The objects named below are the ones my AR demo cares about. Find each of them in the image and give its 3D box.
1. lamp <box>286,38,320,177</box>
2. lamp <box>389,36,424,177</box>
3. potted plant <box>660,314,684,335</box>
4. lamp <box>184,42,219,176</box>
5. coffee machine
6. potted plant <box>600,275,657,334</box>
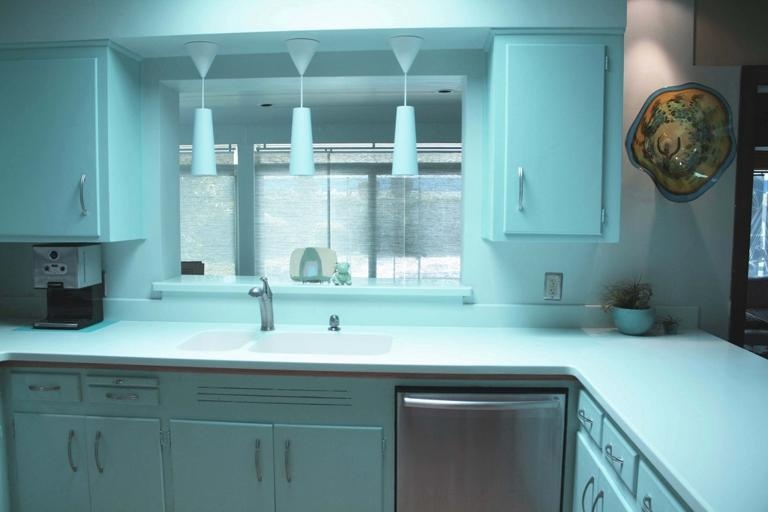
[{"bbox_3d":[-0.493,-0.864,3.868,0.181,0.775,0.458,-1,1,-8],"label":"lamp"},{"bbox_3d":[0.137,-0.866,3.812,0.185,0.783,0.385,-1,1,2],"label":"lamp"},{"bbox_3d":[1.709,0.404,3.758,0.110,0.109,0.105,2,4,17],"label":"potted plant"},{"bbox_3d":[-1.101,-0.867,3.873,0.179,0.772,0.381,-2,1,-15],"label":"lamp"},{"bbox_3d":[-1.906,0.187,3.842,0.392,0.512,0.242,-2,1,-26],"label":"coffee machine"},{"bbox_3d":[1.439,0.299,3.846,0.393,0.375,0.297,1,-6,-3],"label":"potted plant"}]
